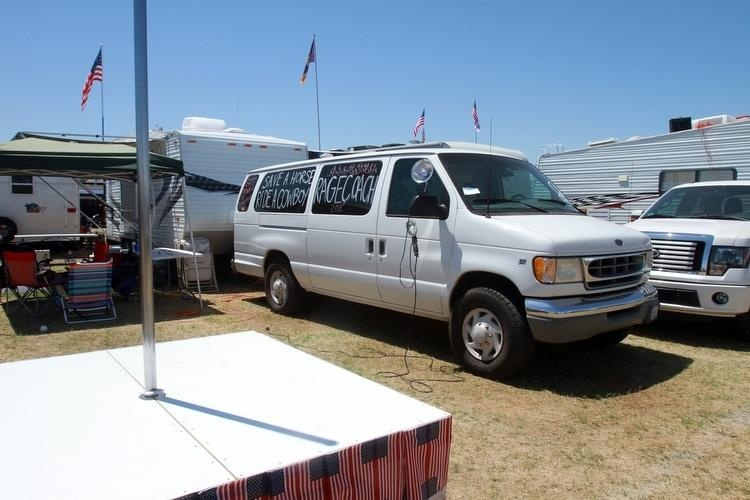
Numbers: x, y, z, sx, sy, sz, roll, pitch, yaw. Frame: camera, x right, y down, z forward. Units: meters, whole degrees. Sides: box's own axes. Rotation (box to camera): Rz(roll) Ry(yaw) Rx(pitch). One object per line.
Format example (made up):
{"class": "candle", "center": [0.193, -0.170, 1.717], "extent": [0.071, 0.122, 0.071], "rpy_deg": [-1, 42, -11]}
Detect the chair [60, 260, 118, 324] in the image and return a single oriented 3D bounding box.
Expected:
{"class": "chair", "center": [-4.729, 0.710, 8.513], "extent": [0.797, 0.850, 1.264], "rpy_deg": [0, 2, -27]}

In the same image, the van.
{"class": "van", "center": [0.745, -0.027, 7.419], "extent": [2.978, 2.214, 5.183], "rpy_deg": [-5, 6, -42]}

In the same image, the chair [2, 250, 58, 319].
{"class": "chair", "center": [-6.114, 0.502, 8.930], "extent": [0.629, 1.218, 2.096], "rpy_deg": [-8, 12, -35]}

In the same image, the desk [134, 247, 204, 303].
{"class": "desk", "center": [-3.485, 0.438, 8.743], "extent": [0.621, 0.563, 1.123], "rpy_deg": [-1, 3, -37]}
